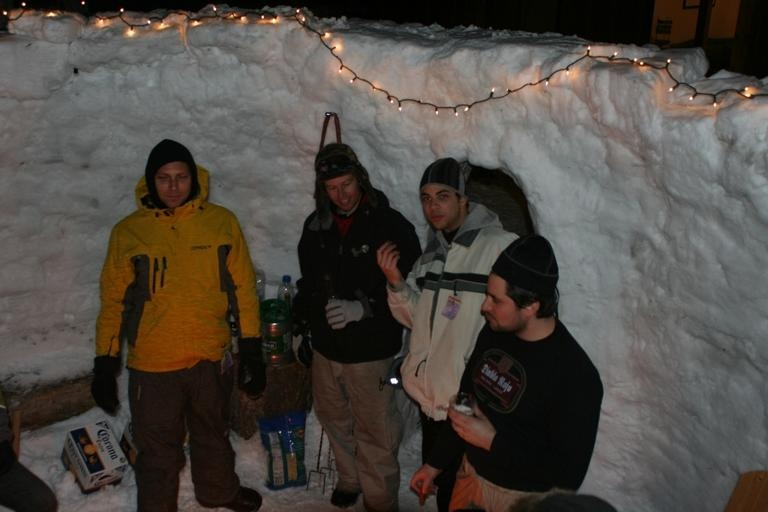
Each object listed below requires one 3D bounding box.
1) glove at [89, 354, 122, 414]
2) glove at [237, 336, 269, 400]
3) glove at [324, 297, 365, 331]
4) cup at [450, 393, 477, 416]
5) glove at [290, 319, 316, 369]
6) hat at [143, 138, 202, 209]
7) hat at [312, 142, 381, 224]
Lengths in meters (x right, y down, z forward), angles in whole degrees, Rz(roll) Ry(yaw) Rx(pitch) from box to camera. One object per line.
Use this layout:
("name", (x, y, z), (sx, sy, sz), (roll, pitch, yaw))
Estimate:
("glove", (-2.052, 0.926, 4.420), (0.156, 0.379, 0.293), (-7, -8, 21))
("glove", (-1.012, 0.880, 4.667), (0.139, 0.400, 0.266), (13, -12, 27))
("glove", (-0.284, 0.394, 4.497), (0.264, 0.197, 0.250), (4, 9, 13))
("cup", (0.462, 0.857, 3.542), (0.136, 0.124, 0.093), (-2, -24, 11))
("glove", (-0.632, 0.701, 4.959), (0.297, 0.389, 0.162), (3, -3, 41))
("hat", (-1.507, -0.578, 4.345), (0.373, 0.478, 0.259), (-2, 10, -19))
("hat", (-0.341, -0.565, 4.582), (0.497, 0.496, 0.456), (-17, 20, -5))
